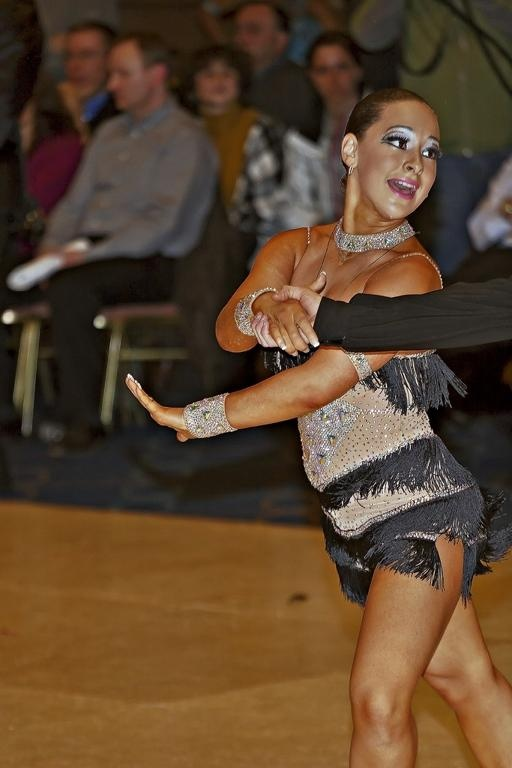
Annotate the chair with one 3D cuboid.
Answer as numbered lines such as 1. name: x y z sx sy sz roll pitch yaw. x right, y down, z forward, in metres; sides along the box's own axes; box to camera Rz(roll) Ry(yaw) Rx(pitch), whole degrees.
1. chair: -0.641 -0.588 3.690 1.072 1.453 0.927 -14 27 -24
